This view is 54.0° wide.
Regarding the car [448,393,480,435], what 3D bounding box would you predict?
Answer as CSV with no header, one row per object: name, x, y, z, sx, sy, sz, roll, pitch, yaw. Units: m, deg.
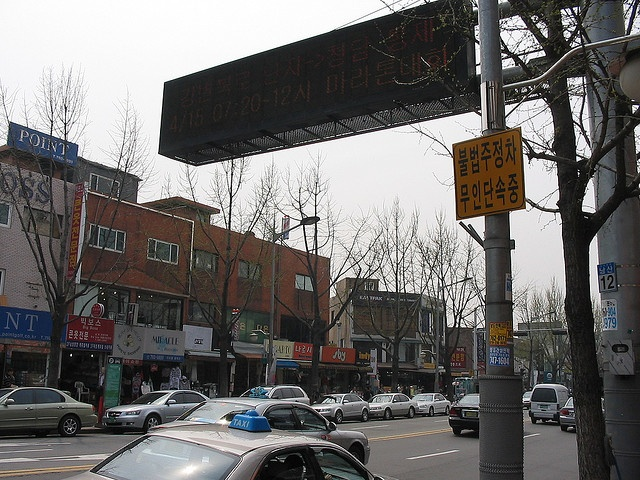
car,5.817,7.043,25.292,1.164,1.562,2.112,-5,-15,12
